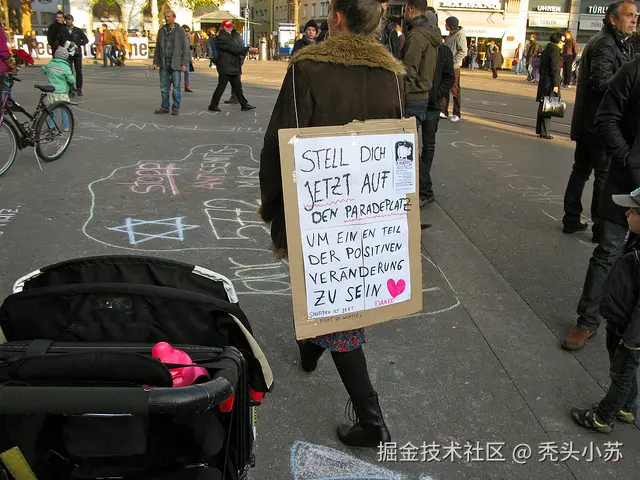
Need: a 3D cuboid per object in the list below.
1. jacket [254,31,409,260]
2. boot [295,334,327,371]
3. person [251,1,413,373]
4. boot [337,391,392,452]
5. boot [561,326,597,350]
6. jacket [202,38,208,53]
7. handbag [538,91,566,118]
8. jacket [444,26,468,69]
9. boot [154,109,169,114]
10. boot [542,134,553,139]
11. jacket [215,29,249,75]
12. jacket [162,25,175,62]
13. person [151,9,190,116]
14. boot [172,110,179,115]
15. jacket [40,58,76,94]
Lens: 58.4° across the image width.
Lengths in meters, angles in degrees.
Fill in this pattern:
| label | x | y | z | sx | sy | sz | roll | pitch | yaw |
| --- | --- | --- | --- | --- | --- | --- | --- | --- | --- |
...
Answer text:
| label | x | y | z | sx | sy | sz | roll | pitch | yaw |
| --- | --- | --- | --- | --- | --- | --- | --- | --- | --- |
| jacket | 0.030 | -0.477 | 2.908 | 0.932 | 1.057 | 0.428 | 2 | 4 | -6 |
| boot | -0.061 | 0.718 | 3.599 | 0.152 | 0.308 | 0.267 | 0 | 19 | -3 |
| person | 0.110 | -0.264 | 2.978 | 0.783 | 1.855 | 0.626 | -6 | 20 | -17 |
| boot | 0.221 | 0.991 | 3.138 | 0.168 | 0.306 | 0.372 | -8 | 1 | -43 |
| boot | 1.847 | 0.670 | 4.089 | 0.284 | 0.125 | 0.110 | -21 | 30 | -21 |
| jacket | -7.475 | -12.615 | 37.083 | 0.297 | 0.902 | 1.690 | -3 | 19 | -11 |
| handbag | 4.013 | -2.342 | 9.883 | 0.388 | 0.422 | 0.489 | 7 | 20 | 17 |
| jacket | 2.678 | -3.873 | 11.538 | 0.474 | 0.810 | 0.706 | -11 | 24 | -27 |
| boot | -3.005 | -2.446 | 10.887 | 0.260 | 0.102 | 0.087 | 1 | 24 | -1 |
| boot | 4.190 | -1.909 | 10.561 | 0.197 | 0.075 | 0.065 | -5 | 24 | -11 |
| jacket | -1.809 | -3.806 | 11.596 | 0.598 | 0.870 | 0.335 | -3 | 19 | -9 |
| jacket | -2.776 | -3.600 | 10.540 | 0.210 | 0.612 | 0.195 | -1 | 19 | -4 |
| person | -2.803 | -3.298 | 10.696 | 0.706 | 1.880 | 0.518 | 0 | 19 | -3 |
| boot | -2.770 | -2.427 | 10.911 | 0.086 | 0.089 | 0.213 | 0 | 14 | -4 |
| jacket | -3.819 | -2.439 | 8.385 | 0.520 | 0.486 | 0.296 | 15 | 28 | 3 |
